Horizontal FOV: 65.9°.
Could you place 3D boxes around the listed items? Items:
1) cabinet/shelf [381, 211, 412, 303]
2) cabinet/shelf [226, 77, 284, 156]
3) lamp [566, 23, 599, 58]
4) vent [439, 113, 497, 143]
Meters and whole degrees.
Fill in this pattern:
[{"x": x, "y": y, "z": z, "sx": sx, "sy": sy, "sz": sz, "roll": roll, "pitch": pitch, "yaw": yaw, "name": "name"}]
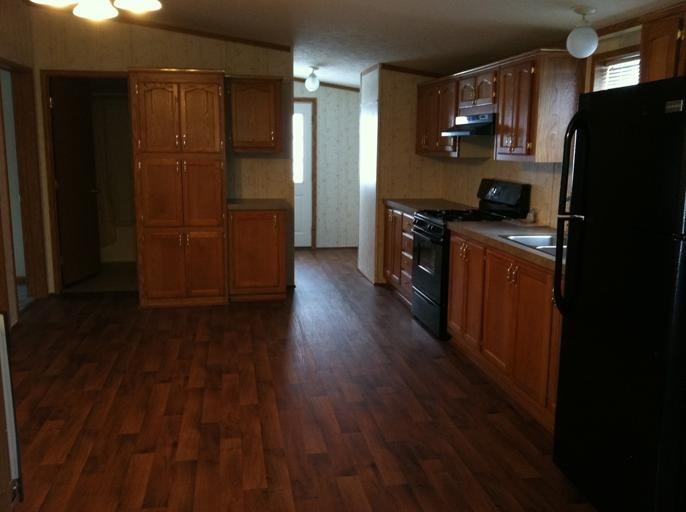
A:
[{"x": 0.617, "y": -0.001, "z": 5.947, "sx": 0.413, "sy": 0.804, "sz": 0.840, "roll": 2, "pitch": 14, "yaw": -6, "name": "cabinet/shelf"}, {"x": -0.919, "y": -1.548, "z": 6.003, "sx": 0.719, "sy": 1.112, "sz": 0.689, "roll": -1, "pitch": 9, "yaw": -9, "name": "cabinet/shelf"}, {"x": 1.628, "y": -1.467, "z": 3.591, "sx": 0.161, "sy": 0.213, "sz": 0.132, "roll": -4, "pitch": 14, "yaw": -21, "name": "lamp"}, {"x": 1.179, "y": -1.218, "z": 4.910, "sx": 0.179, "sy": 0.201, "sz": 0.774, "roll": -1, "pitch": 14, "yaw": -9, "name": "vent"}]
